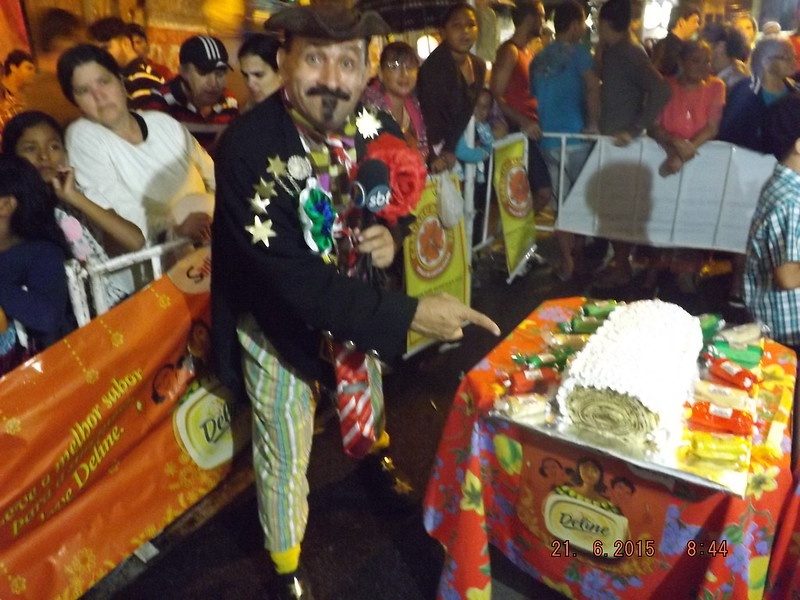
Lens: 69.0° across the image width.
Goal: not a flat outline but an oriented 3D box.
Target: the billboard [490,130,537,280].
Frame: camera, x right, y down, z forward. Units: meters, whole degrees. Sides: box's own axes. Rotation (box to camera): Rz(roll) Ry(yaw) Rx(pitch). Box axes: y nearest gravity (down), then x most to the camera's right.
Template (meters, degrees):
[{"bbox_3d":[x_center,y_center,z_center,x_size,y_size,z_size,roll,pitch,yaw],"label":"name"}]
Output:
[{"bbox_3d":[1.117,-0.933,5.671,0.082,1.303,1.044,2,36,31],"label":"billboard"}]

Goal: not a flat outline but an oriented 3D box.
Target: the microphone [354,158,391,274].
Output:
[{"bbox_3d":[-0.133,-0.361,2.594,0.136,0.519,0.172,-2,8,-18],"label":"microphone"}]

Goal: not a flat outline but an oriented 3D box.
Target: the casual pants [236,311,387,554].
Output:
[{"bbox_3d":[-0.438,0.561,2.754,0.333,1.336,0.377,2,43,-44],"label":"casual pants"}]

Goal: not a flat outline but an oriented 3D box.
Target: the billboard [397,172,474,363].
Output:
[{"bbox_3d":[0.216,-0.226,3.830,0.174,1.191,1.301,6,12,25],"label":"billboard"}]

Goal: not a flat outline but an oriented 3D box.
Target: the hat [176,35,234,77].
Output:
[{"bbox_3d":[-1.414,-1.784,4.214,0.332,0.184,0.254,26,43,23],"label":"hat"}]

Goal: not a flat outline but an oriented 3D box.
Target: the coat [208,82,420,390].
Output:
[{"bbox_3d":[-0.411,-0.117,2.436,0.924,1.318,0.388,14,26,35],"label":"coat"}]
